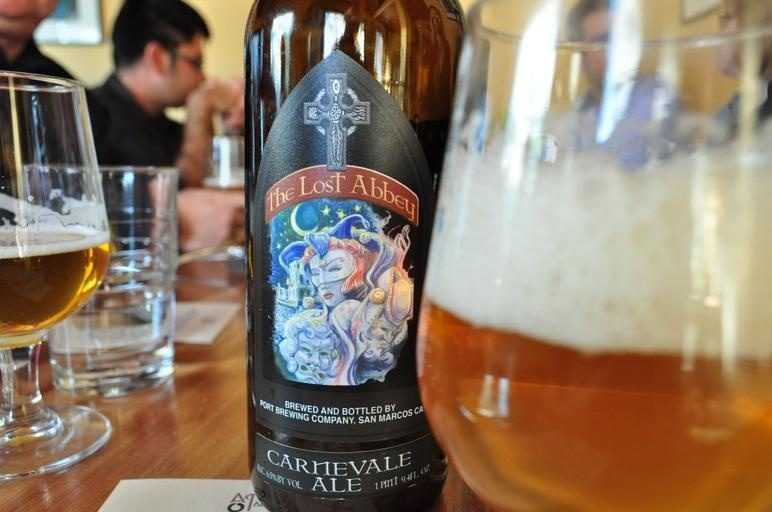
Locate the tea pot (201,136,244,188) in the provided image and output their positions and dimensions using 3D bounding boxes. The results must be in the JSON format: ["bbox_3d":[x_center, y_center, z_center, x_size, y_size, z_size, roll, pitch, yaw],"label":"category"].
[{"bbox_3d":[-0.448,-0.258,1.890,0.105,0.143,0.242,-7,15,-15],"label":"tea pot"}]

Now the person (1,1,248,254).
[{"bbox_3d":[-0.856,-0.411,2.418,0.690,0.809,0.886,0,4,-1],"label":"person"}]
